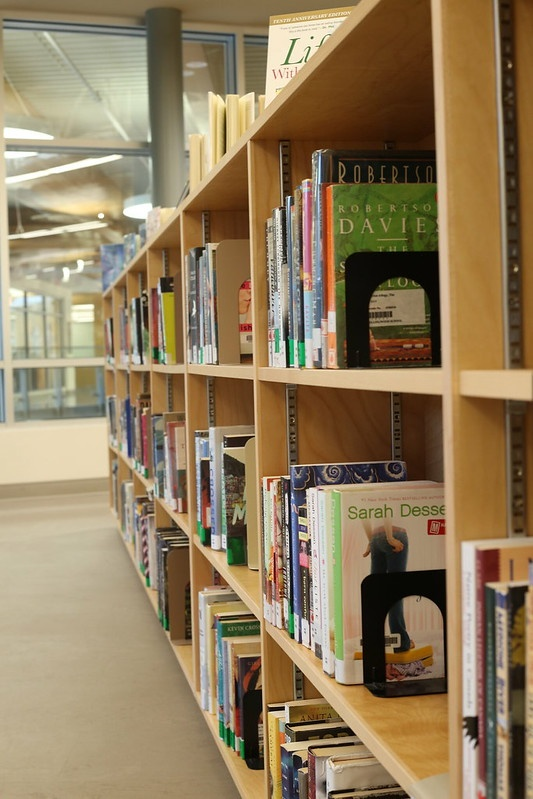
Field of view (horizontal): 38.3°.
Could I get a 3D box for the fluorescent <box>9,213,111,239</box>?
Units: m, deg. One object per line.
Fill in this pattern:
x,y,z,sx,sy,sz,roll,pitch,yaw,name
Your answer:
-1.829,-1.493,6.651,1.239,0.189,0.094,-13,17,-31,fluorescent

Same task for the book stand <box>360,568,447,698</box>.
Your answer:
0.194,0.295,1.000,0.132,0.142,0.060,-6,-14,17,book stand
